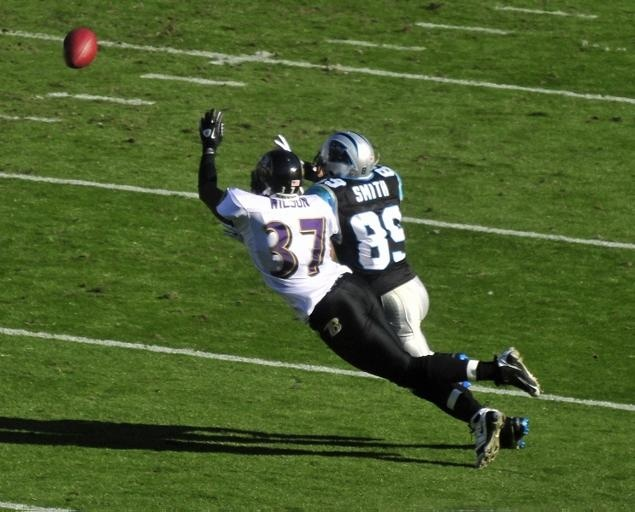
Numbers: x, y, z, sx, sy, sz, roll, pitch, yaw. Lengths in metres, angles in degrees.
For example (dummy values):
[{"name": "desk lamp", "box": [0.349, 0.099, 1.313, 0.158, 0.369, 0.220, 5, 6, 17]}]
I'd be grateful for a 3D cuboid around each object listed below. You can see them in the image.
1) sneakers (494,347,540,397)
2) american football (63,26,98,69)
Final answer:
[{"name": "sneakers", "box": [1.935, 1.123, 15.922, 0.589, 0.194, 0.261, 40, 38, 0]}, {"name": "american football", "box": [-2.717, -2.374, 18.876, 0.368, 0.306, 0.479, -33, 28, 15]}]
